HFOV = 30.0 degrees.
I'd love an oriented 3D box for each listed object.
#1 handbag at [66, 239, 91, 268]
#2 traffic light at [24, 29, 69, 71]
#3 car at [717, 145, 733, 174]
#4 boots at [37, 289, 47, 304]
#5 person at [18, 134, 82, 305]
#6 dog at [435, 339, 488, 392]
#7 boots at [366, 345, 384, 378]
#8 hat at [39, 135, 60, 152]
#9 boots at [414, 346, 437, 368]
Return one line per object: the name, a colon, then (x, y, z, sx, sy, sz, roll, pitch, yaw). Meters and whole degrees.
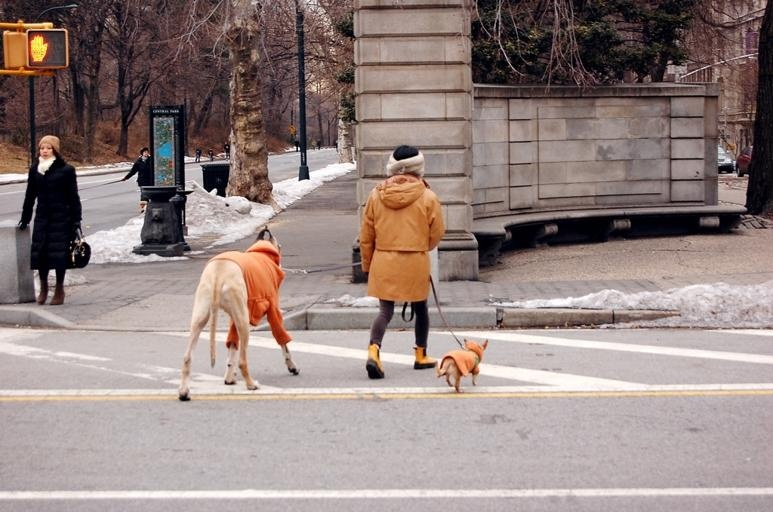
handbag: (-5.721, -0.049, 26.795, 0.372, 0.490, 0.483, 0, -13, -7)
traffic light: (-7.562, -4.588, 32.256, 1.152, 1.093, 0.821, 0, 2, -2)
car: (16.271, -4.450, 68.478, 0.681, 1.000, 3.576, 1, 6, 14)
boots: (-6.394, 0.735, 26.660, 0.172, 0.283, 0.265, -2, 6, -13)
person: (-6.245, -0.663, 26.709, 1.056, 3.074, 0.632, -2, 6, -13)
dog: (1.211, 1.746, 23.084, 0.541, 0.715, 1.499, 3, 5, 30)
boots: (-0.167, 1.697, 23.333, 0.336, 0.551, 0.204, -2, 6, -15)
hat: (-6.270, -2.148, 26.752, 0.360, 0.294, 0.388, 11, -19, -3)
boots: (0.625, 1.674, 23.794, 0.451, 0.409, 0.232, -7, 9, -31)
